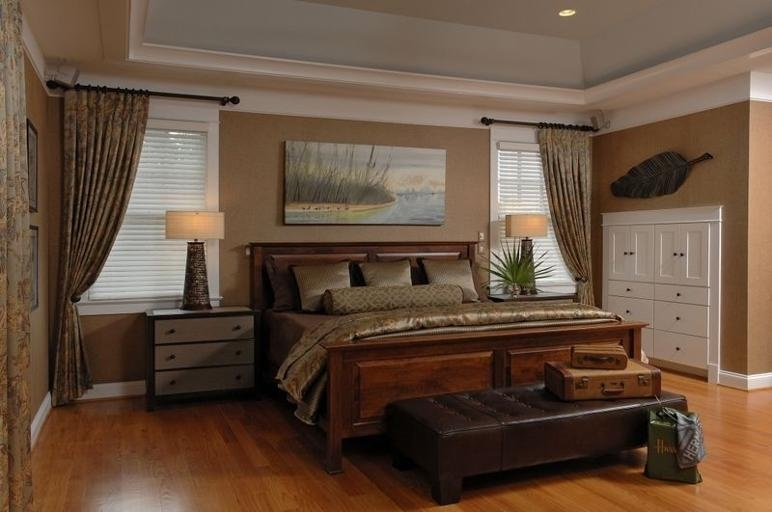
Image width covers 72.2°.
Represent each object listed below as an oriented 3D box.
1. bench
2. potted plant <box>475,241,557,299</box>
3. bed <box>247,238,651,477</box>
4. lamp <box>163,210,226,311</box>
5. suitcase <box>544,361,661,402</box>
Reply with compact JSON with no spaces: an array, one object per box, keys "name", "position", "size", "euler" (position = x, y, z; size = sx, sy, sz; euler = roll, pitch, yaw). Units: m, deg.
[{"name":"bench","position":[0.958,1.326,3.909],"size":[1.791,0.558,0.553],"euler":[-2,7,-15]},{"name":"potted plant","position":[1.717,0.156,6.853],"size":[0.809,0.546,0.754],"euler":[-1,2,-43]},{"name":"bed","position":[0.371,0.682,5.696],"size":[3.128,1.557,3.094],"euler":[-2,2,-22]},{"name":"lamp","position":[-1.974,0.032,5.520],"size":[0.555,1.008,0.399],"euler":[-3,7,-22]},{"name":"suitcase","position":[1.612,0.946,3.929],"size":[0.396,0.139,0.476],"euler":[1,0,-10]}]
